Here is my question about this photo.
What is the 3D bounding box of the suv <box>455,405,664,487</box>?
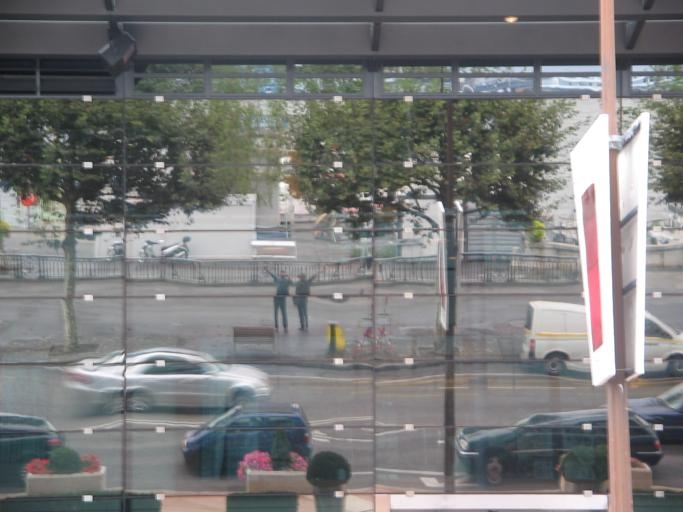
[{"bbox_3d":[3.333,2.969,34.938,2.935,0.852,1.325,1,-1,2],"label":"suv"}]

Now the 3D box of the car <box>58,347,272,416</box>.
[{"bbox_3d":[-2.681,1.912,34.889,2.811,0.810,1.181,-1,2,-7],"label":"car"}]

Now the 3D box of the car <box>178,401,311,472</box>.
[{"bbox_3d":[-1.464,2.846,34.929,1.939,0.841,0.984,2,0,-2],"label":"car"}]

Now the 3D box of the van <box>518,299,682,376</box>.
[{"bbox_3d":[3.984,1.290,35.042,2.306,0.926,1.176,-1,4,-2],"label":"van"}]
